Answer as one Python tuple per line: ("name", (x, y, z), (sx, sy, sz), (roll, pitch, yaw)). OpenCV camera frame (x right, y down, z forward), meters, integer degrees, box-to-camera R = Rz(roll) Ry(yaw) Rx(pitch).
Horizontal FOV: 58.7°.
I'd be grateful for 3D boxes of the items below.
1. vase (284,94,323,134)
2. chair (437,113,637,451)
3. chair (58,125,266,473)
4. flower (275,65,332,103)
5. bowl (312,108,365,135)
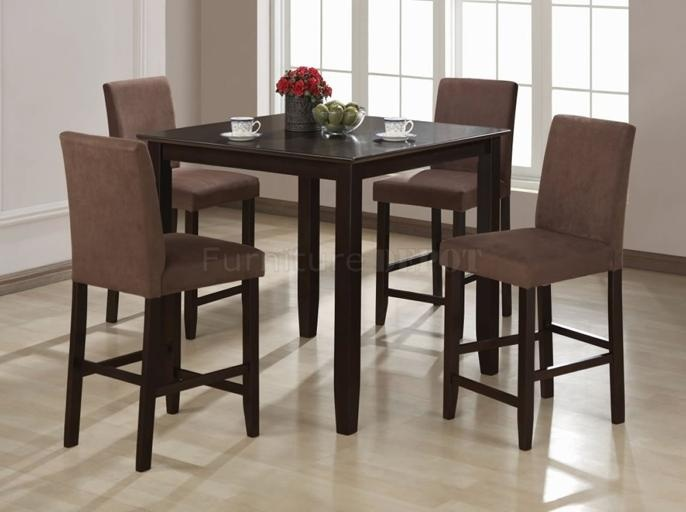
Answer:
("vase", (-0.186, -0.649, 2.711), (0.161, 0.173, 0.155), (-7, 21, -28))
("chair", (0.753, 0.053, 2.323), (0.746, 1.139, 0.535), (-7, 17, -24))
("chair", (-0.640, 0.117, 2.152), (0.749, 1.092, 0.510), (-7, 17, -25))
("flower", (-0.171, -0.751, 2.658), (0.227, 0.152, 0.173), (-7, 16, -23))
("bowl", (-0.030, -0.558, 2.587), (0.145, 0.078, 0.142), (-1, 6, 0))
